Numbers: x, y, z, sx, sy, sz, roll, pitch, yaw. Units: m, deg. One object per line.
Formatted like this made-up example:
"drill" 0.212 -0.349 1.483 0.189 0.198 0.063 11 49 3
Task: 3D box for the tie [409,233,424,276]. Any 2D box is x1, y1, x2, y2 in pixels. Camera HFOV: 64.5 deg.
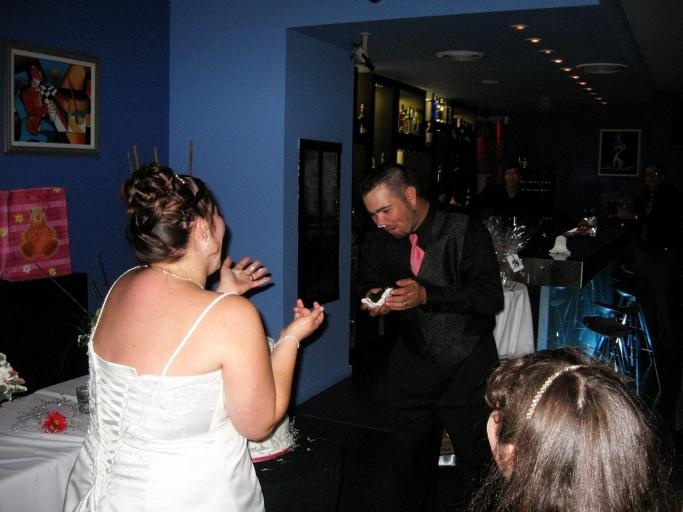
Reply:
"tie" 0.384 -0.006 2.811 0.025 0.192 0.100 -13 1 -38

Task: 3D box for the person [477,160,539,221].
"person" 2.011 -0.828 6.370 0.821 0.645 0.372 3 12 20

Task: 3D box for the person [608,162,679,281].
"person" 3.978 -0.509 6.953 0.708 1.386 0.497 1 8 18

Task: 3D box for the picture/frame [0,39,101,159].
"picture/frame" -1.880 -1.009 3.445 0.063 0.815 0.837 3 3 29

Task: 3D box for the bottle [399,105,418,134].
"bottle" 0.867 -1.753 6.985 0.164 0.392 0.652 0 8 18

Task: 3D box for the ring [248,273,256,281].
"ring" -0.350 0.081 2.084 0.023 0.025 0.010 0 -22 -9

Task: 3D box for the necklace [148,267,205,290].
"necklace" -0.482 0.052 1.570 0.121 0.029 0.078 25 4 -25

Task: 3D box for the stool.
"stool" 2.215 0.573 4.269 0.536 1.280 0.607 -1 22 27

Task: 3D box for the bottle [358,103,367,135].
"bottle" 0.230 -1.510 5.964 0.088 0.349 0.225 -1 8 6
